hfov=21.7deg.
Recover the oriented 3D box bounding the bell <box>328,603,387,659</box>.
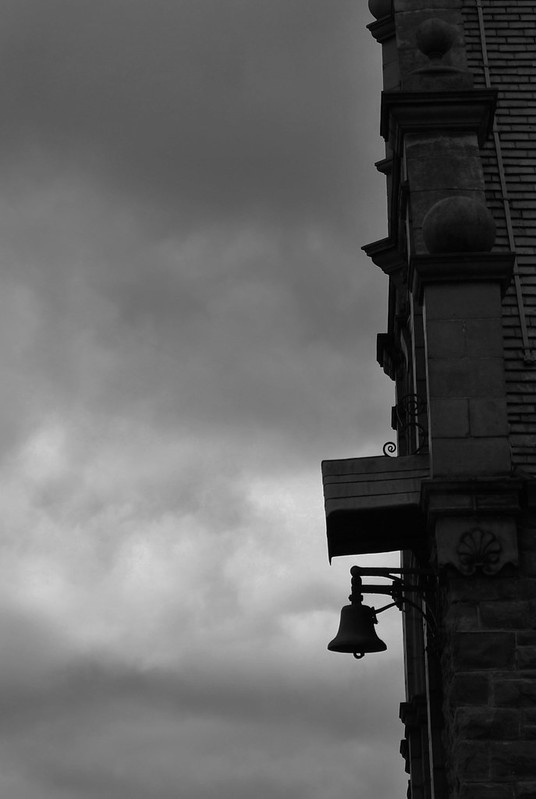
[{"bbox_3d":[0.709,1.761,11.034,0.500,0.438,0.460,-2,-4,16],"label":"bell"}]
